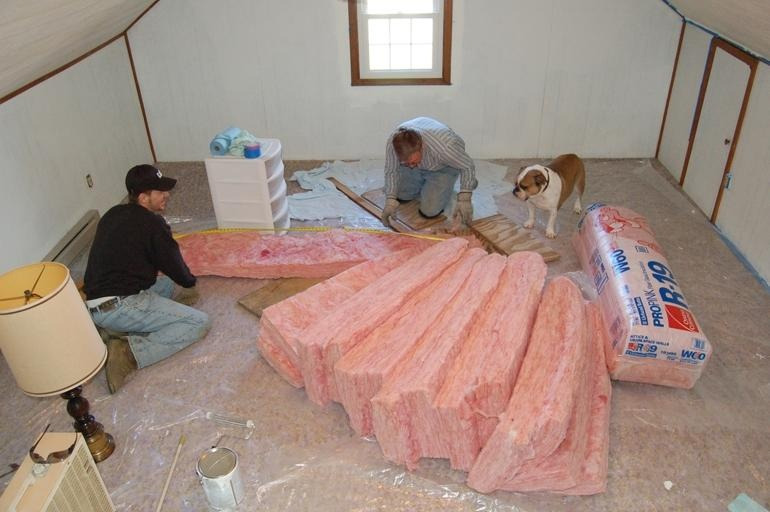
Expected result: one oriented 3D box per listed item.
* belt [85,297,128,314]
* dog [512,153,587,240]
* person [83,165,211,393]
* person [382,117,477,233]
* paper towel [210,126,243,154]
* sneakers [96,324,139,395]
[{"bbox_3d":[-2.058,0.367,3.701,0.172,0.053,0.121,-26,19,-30],"label":"belt"},{"bbox_3d":[1.679,-0.648,5.042,1.018,0.741,0.408,-31,37,-30],"label":"dog"},{"bbox_3d":[-1.721,0.159,3.995,0.851,1.606,1.064,-4,26,-26],"label":"person"},{"bbox_3d":[0.462,-0.776,5.095,1.021,1.057,0.532,-18,34,-25],"label":"person"},{"bbox_3d":[-1.462,-1.076,4.733,0.205,0.201,0.356,9,26,21],"label":"paper towel"},{"bbox_3d":[-1.976,0.754,3.777,0.183,0.251,0.575,-14,34,-32],"label":"sneakers"}]
